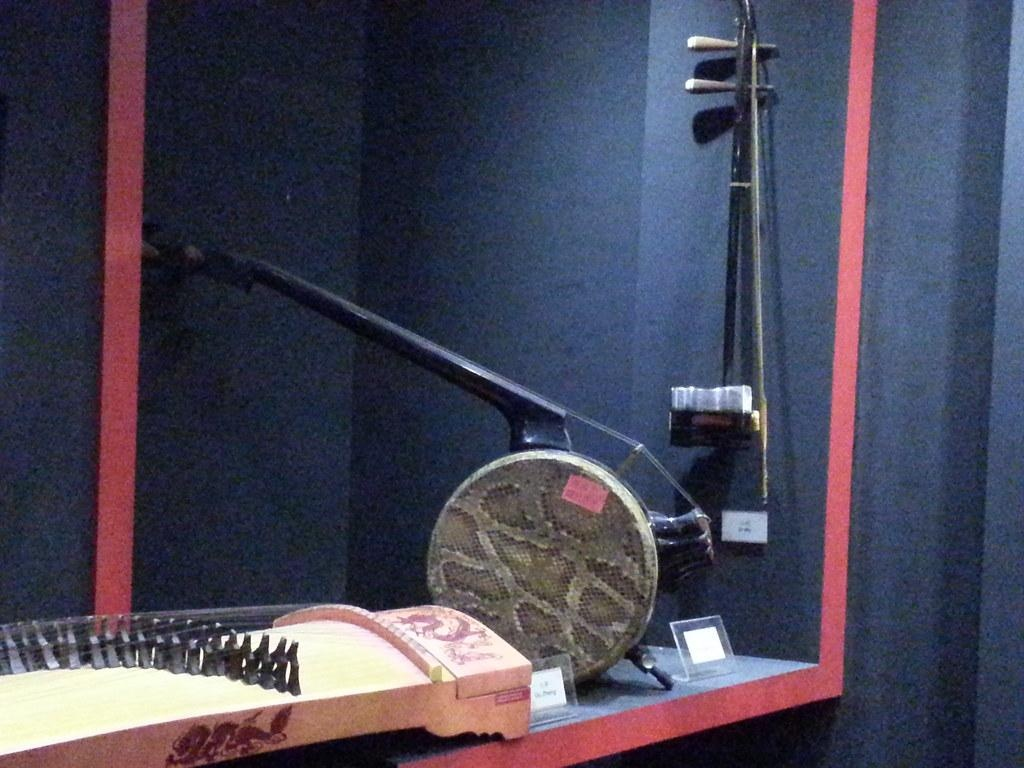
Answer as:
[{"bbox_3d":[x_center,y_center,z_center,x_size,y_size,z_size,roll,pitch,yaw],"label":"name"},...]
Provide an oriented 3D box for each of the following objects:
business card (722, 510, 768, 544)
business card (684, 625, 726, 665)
[{"bbox_3d":[0.499,0.302,2.752,0.092,0.070,0.022,5,6,23],"label":"business card"},{"bbox_3d":[0.392,0.525,2.585,0.073,0.073,0.018,-3,-9,-37],"label":"business card"}]
